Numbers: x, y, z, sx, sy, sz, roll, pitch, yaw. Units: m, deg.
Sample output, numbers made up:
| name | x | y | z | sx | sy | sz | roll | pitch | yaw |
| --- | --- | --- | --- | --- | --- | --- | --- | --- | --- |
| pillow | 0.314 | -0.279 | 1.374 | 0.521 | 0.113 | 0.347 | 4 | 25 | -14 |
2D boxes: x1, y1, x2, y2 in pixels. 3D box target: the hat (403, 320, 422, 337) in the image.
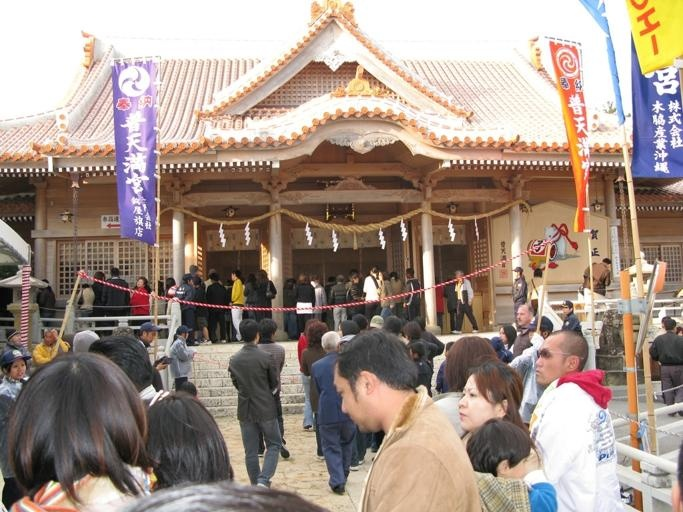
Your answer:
| name | x | y | z | sx | sy | sz | roll | pitch | yaw |
| --- | --- | --- | --- | --- | --- | --- | --- | --- | --- |
| hat | 0.923 | 0.942 | 8.832 | 0.176 | 0.223 | 0.222 | 0 | 21 | -8 |

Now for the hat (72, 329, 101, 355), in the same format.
| name | x | y | z | sx | sy | sz | roll | pitch | yaw |
| --- | --- | --- | --- | --- | --- | --- | --- | --- | --- |
| hat | -2.468 | 0.806 | 6.458 | 0.185 | 0.184 | 0.527 | 2 | -10 | -18 |

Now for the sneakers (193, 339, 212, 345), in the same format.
| name | x | y | z | sx | sy | sz | roll | pitch | yaw |
| --- | --- | --- | --- | --- | --- | --- | --- | --- | --- |
| sneakers | -3.010 | 1.835 | 14.430 | 0.319 | 0.131 | 0.130 | -5 | -7 | 29 |

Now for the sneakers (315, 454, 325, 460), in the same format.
| name | x | y | z | sx | sy | sz | roll | pitch | yaw |
| --- | --- | --- | --- | --- | --- | --- | --- | --- | --- |
| sneakers | -0.296 | 2.644 | 8.897 | 0.070 | 0.072 | 0.216 | 2 | -10 | -17 |

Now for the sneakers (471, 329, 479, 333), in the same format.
| name | x | y | z | sx | sy | sz | roll | pitch | yaw |
| --- | --- | --- | --- | --- | --- | --- | --- | --- | --- |
| sneakers | 3.174 | 1.778 | 15.975 | 0.111 | 0.082 | 0.203 | -9 | -10 | 40 |

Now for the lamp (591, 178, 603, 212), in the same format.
| name | x | y | z | sx | sy | sz | roll | pitch | yaw |
| --- | --- | --- | --- | --- | --- | --- | --- | --- | --- |
| lamp | 6.442 | -1.504 | 17.017 | 0.471 | 0.815 | 0.152 | 4 | -10 | -25 |

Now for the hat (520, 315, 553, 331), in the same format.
| name | x | y | z | sx | sy | sz | roll | pitch | yaw |
| --- | --- | --- | --- | --- | --- | --- | --- | --- | --- |
| hat | 2.491 | 0.865 | 8.370 | 0.469 | 0.193 | 0.303 | -1 | -8 | 1 |

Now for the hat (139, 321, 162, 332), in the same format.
| name | x | y | z | sx | sy | sz | roll | pitch | yaw |
| --- | --- | --- | --- | --- | --- | --- | --- | --- | --- |
| hat | -2.451 | 0.883 | 8.533 | 0.156 | 0.124 | 0.401 | 1 | -9 | -10 |

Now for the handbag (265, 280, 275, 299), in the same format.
| name | x | y | z | sx | sy | sz | roll | pitch | yaw |
| --- | --- | --- | --- | --- | --- | --- | --- | --- | --- |
| handbag | -1.527 | 0.741 | 14.840 | 0.237 | 0.345 | 0.340 | 0 | -3 | -6 |

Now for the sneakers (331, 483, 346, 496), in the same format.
| name | x | y | z | sx | sy | sz | roll | pitch | yaw |
| --- | --- | --- | --- | --- | --- | --- | --- | --- | --- |
| sneakers | -0.045 | 2.644 | 7.707 | 0.175 | 0.138 | 0.273 | -1 | -9 | 1 |

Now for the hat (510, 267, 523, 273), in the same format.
| name | x | y | z | sx | sy | sz | roll | pitch | yaw |
| --- | --- | --- | --- | --- | --- | --- | --- | --- | --- |
| hat | 3.586 | 0.279 | 13.801 | 0.222 | 0.113 | 0.161 | 12 | 3 | 25 |
